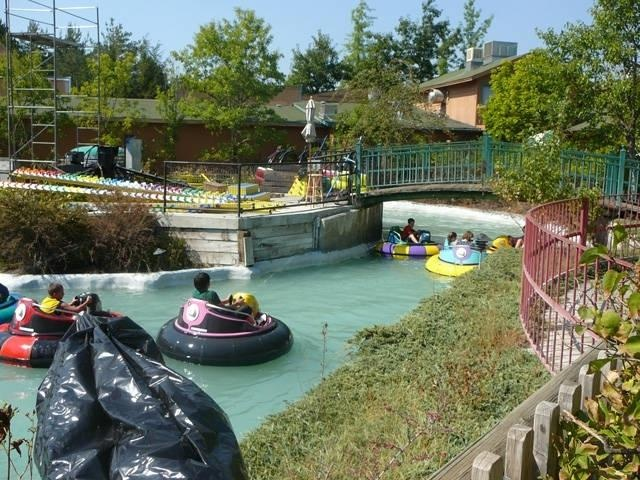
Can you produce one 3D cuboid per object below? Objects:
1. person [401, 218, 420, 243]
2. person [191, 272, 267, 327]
[{"bbox_3d":[2.535,-0.214,18.511,0.553,0.775,0.574,-6,19,-9],"label":"person"},{"bbox_3d":[-1.399,0.897,10.176,1.064,0.878,0.713,-4,3,-37],"label":"person"}]
